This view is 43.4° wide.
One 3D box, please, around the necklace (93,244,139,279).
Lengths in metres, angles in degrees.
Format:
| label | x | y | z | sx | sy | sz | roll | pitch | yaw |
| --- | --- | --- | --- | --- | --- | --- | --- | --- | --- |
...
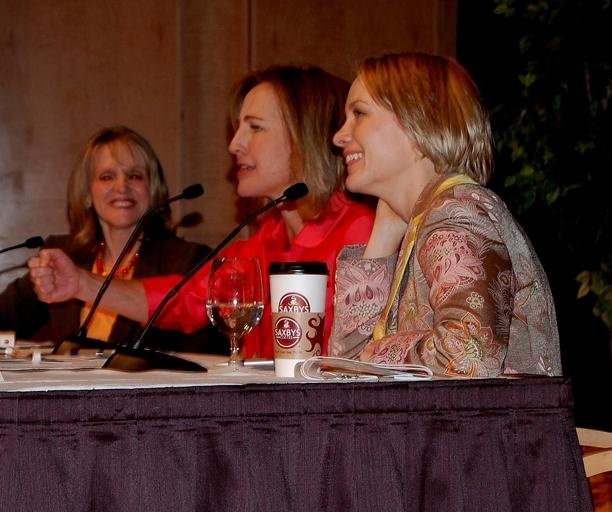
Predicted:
| label | x | y | z | sx | sy | sz | roll | pitch | yaw |
| --- | --- | --- | --- | --- | --- | --- | --- | --- | --- |
| necklace | -0.805 | 0.039 | 3.284 | 0.136 | 0.215 | 0.081 | 3 | 4 | 11 |

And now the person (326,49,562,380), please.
| label | x | y | z | sx | sy | sz | roll | pitch | yaw |
| --- | --- | --- | --- | --- | --- | --- | --- | --- | --- |
| person | 0.321 | -0.102 | 1.792 | 0.367 | 1.182 | 0.457 | 2 | -44 | 5 |

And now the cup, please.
| label | x | y | z | sx | sy | sz | roll | pitch | yaw |
| --- | --- | --- | --- | --- | --- | --- | --- | --- | --- |
| cup | -0.015 | 0.100 | 1.303 | 0.138 | 0.250 | 0.153 | 1 | -7 | 1 |
